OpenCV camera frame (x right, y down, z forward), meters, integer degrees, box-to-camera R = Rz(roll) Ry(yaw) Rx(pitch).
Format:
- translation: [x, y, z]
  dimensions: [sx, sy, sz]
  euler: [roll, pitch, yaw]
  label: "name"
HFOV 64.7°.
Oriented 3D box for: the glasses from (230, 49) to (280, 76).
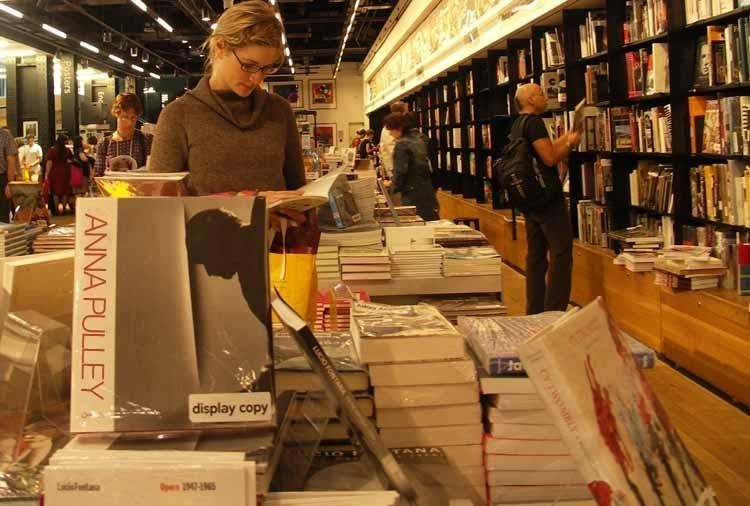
- translation: [-0.432, -0.654, 2.032]
  dimensions: [0.100, 0.031, 0.103]
  euler: [-6, 43, -49]
  label: "glasses"
